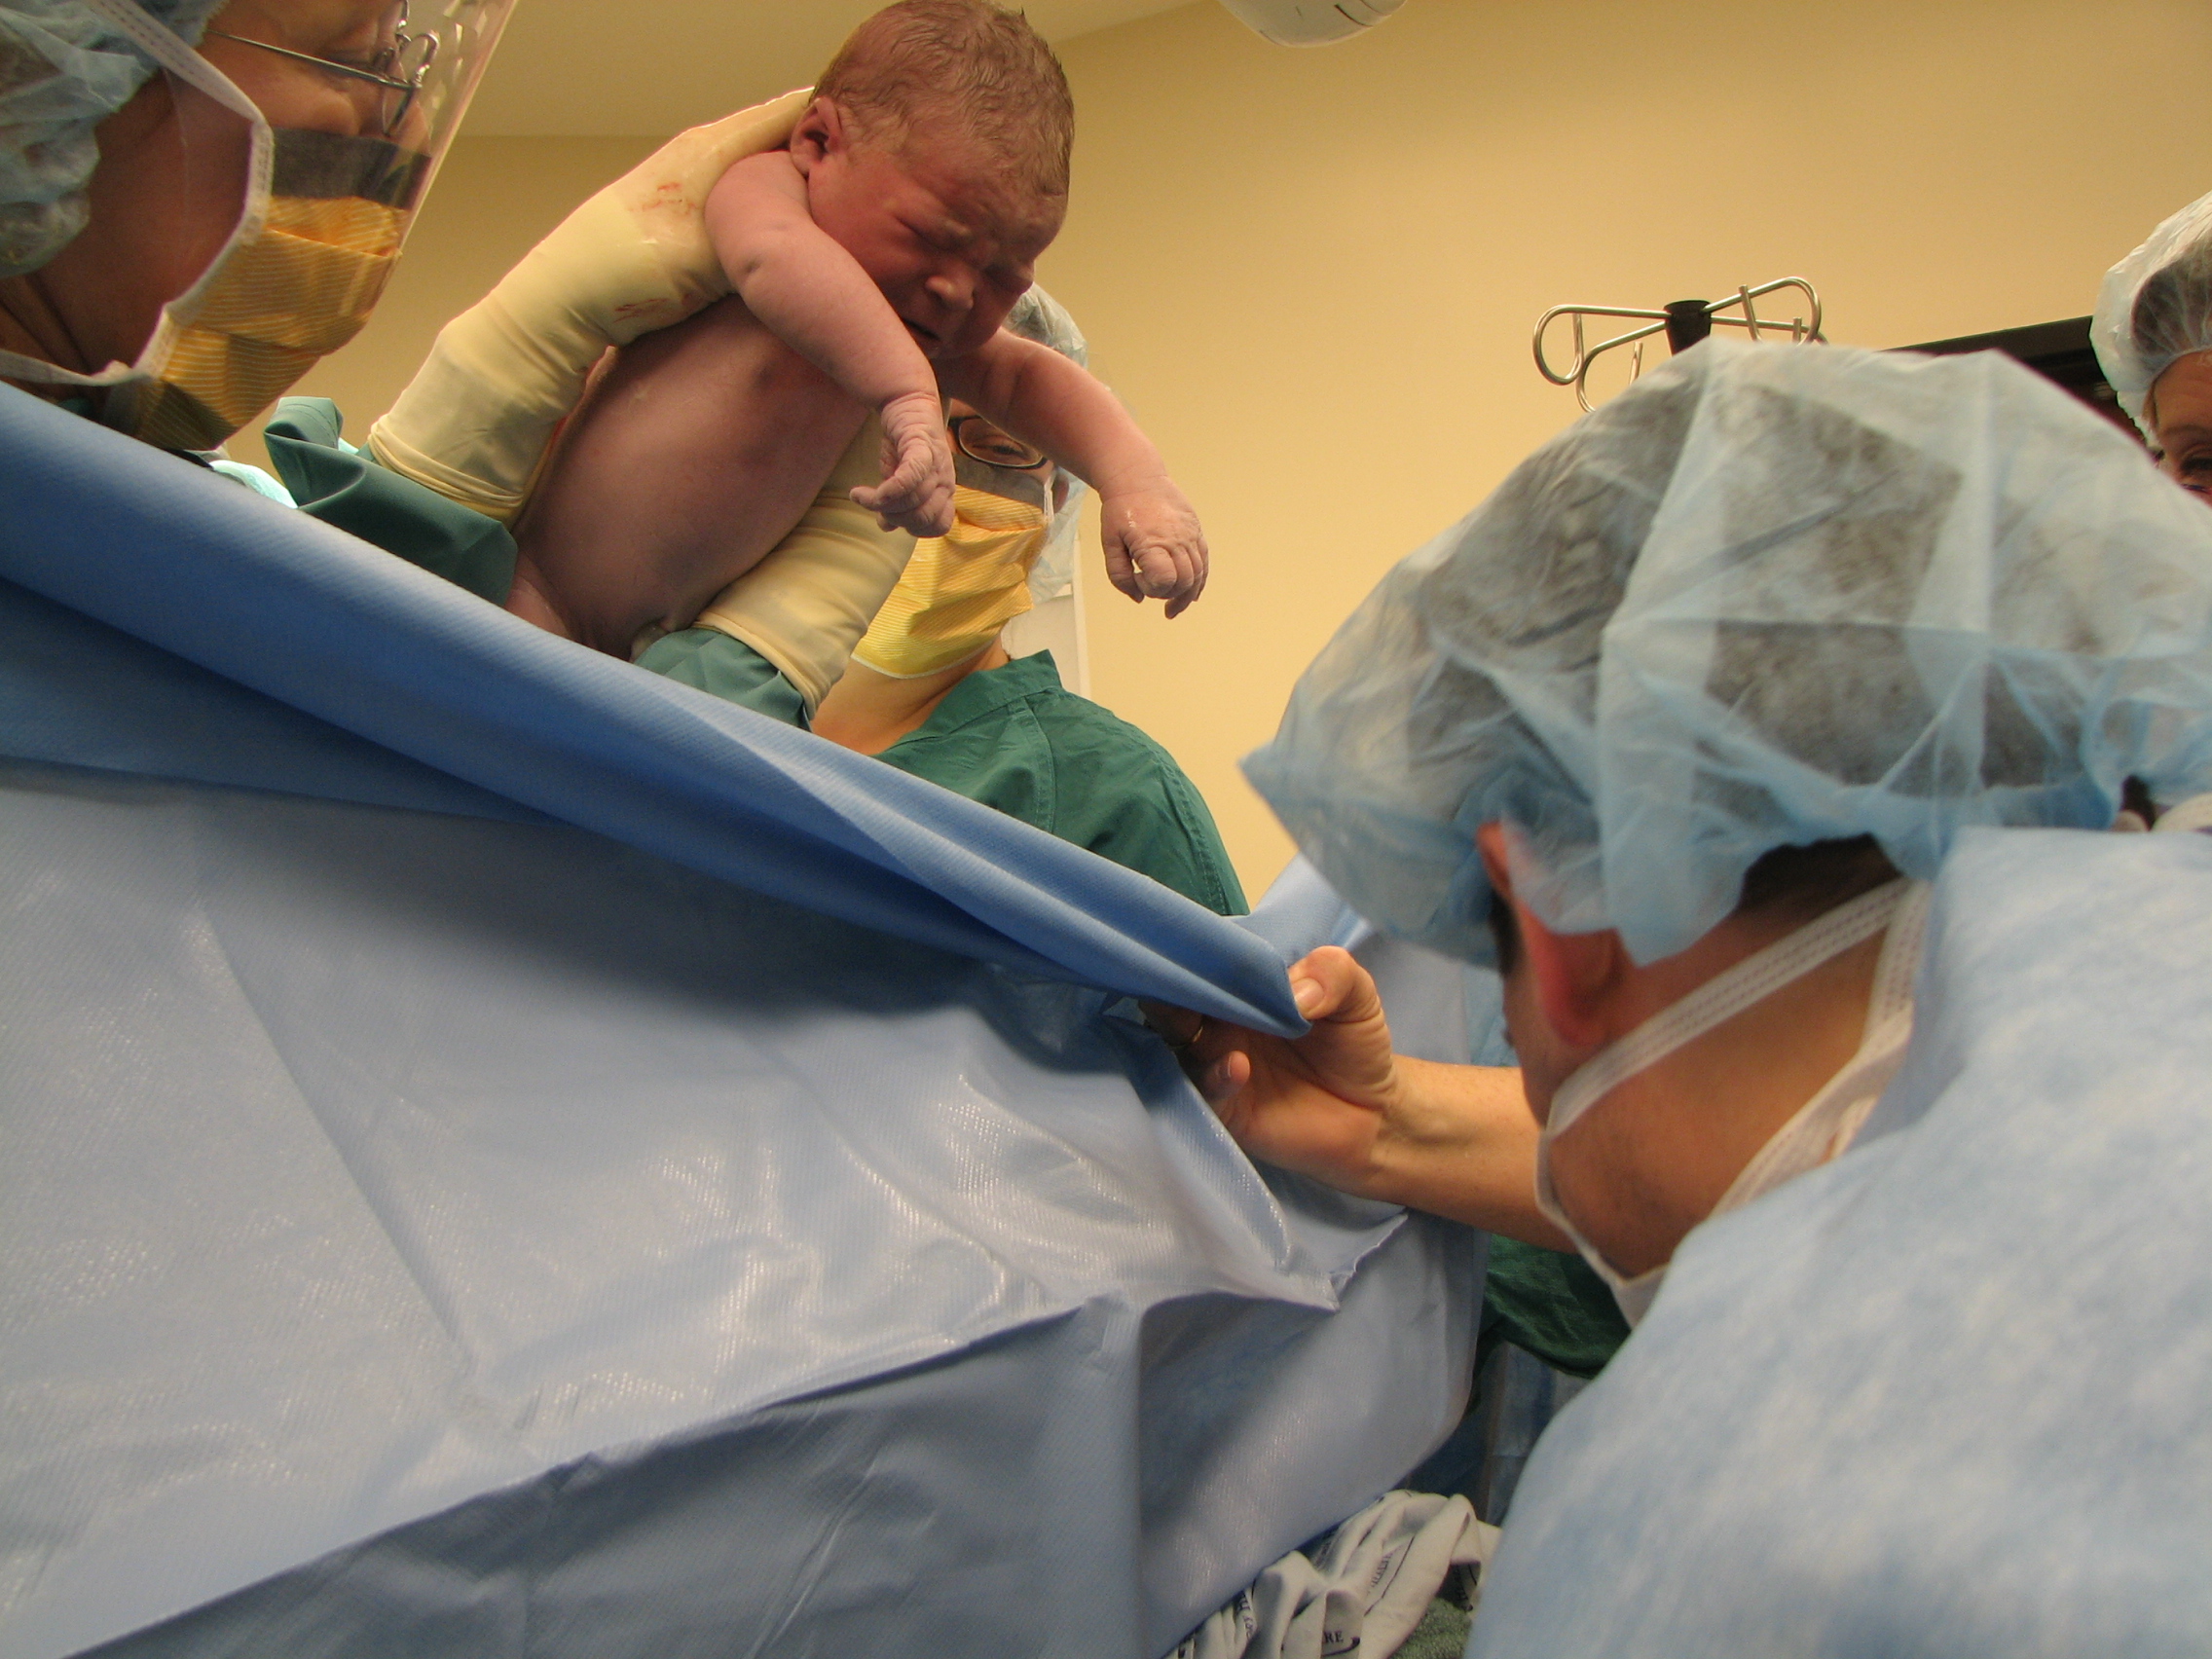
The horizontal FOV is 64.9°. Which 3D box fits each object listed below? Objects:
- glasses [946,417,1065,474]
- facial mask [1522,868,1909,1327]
[{"bbox_3d":[-0.107,-0.362,1.661,0.069,0.027,0.050,-1,31,-46],"label":"glasses"},{"bbox_3d":[0.268,0.137,0.775,0.143,0.177,0.119,54,14,-83],"label":"facial mask"}]
